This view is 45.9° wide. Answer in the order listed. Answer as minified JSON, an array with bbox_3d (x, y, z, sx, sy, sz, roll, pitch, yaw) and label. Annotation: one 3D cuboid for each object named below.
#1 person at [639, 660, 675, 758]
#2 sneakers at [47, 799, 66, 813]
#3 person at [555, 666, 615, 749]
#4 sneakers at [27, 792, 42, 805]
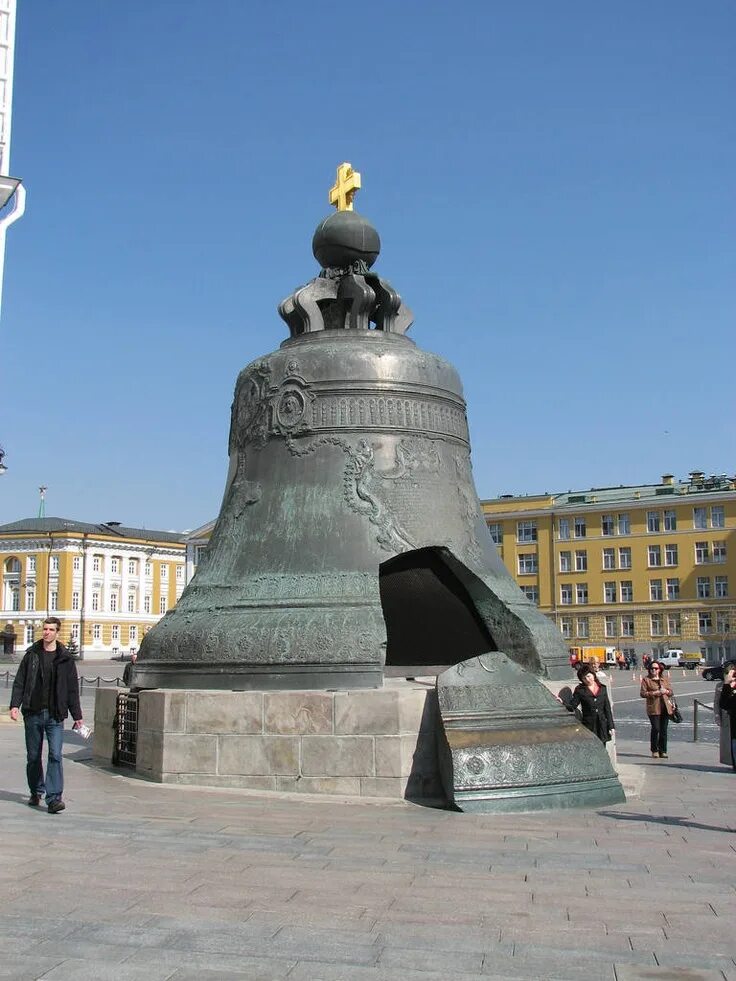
[{"bbox_3d":[4.575,3.394,13.712,0.462,1.395,2.986,-7,-11,17],"label":"person"},{"bbox_3d":[-2.254,2.258,6.245,0.118,0.083,0.093,-1,-9,5],"label":"sneakers"},{"bbox_3d":[2.205,2.162,8.724,0.393,0.794,0.997,-7,-11,17],"label":"person"},{"bbox_3d":[-2.568,2.375,6.703,0.069,0.105,0.167,4,-11,-12],"label":"sneakers"}]
